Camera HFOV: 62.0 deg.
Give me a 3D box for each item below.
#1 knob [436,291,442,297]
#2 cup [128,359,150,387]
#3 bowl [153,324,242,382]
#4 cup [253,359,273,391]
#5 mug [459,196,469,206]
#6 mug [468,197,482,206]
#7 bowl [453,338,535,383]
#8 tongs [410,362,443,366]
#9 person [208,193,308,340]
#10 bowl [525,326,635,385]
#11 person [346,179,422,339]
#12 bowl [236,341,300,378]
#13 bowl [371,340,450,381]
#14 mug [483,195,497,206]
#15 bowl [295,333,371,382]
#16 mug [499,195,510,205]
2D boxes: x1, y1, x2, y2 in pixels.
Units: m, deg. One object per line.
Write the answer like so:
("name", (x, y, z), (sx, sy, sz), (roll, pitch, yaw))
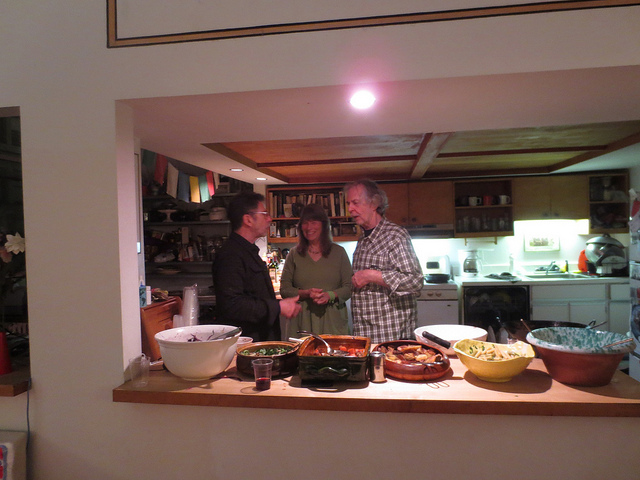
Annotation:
("knob", (1.267, 0.569, 5.660), (0.042, 0.052, 0.040), (0, 7, 5))
("cup", (-0.895, 0.663, 2.675), (0.134, 0.126, 0.123), (0, -3, 0))
("bowl", (-0.624, 0.593, 2.772), (0.455, 0.209, 0.423), (0, 2, 0))
("cup", (-0.275, 0.655, 2.592), (0.133, 0.133, 0.125), (-2, -3, 0))
("mug", (1.613, -0.434, 5.938), (0.105, 0.118, 0.046), (3, 0, 11))
("mug", (1.715, -0.430, 5.869), (0.115, 0.069, 0.066), (8, -10, -30))
("bowl", (0.860, 0.597, 2.643), (0.373, 0.167, 0.268), (3, 12, 14))
("tongs", (0.554, 0.608, 2.604), (0.098, 0.010, 0.025), (0, 11, 0))
("person", (-0.416, 0.207, 3.144), (0.493, 0.916, 0.804), (4, 13, 19))
("bowl", (1.277, 0.541, 2.662), (0.447, 0.249, 0.404), (4, 12, 20))
("person", (0.414, 0.114, 3.499), (0.478, 0.991, 0.442), (0, 12, 2))
("bowl", (-0.213, 0.609, 2.750), (0.255, 0.090, 0.266), (0, 7, 0))
("bowl", (0.461, 0.613, 2.728), (0.291, 0.122, 0.340), (-5, 12, -25))
("mug", (1.904, -0.439, 5.923), (0.158, 0.100, 0.096), (0, 12, -1))
("bowl", (0.066, 0.605, 2.717), (0.383, 0.181, 0.351), (0, 11, 0))
("mug", (2.030, -0.445, 5.879), (0.119, 0.097, 0.069), (2, -3, -8))
